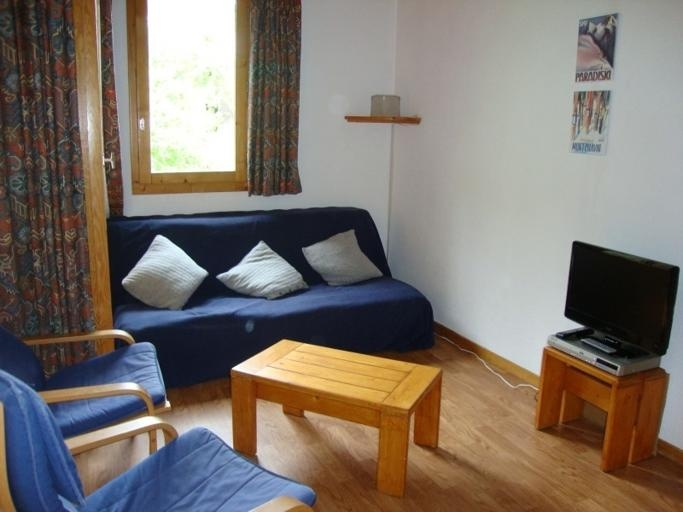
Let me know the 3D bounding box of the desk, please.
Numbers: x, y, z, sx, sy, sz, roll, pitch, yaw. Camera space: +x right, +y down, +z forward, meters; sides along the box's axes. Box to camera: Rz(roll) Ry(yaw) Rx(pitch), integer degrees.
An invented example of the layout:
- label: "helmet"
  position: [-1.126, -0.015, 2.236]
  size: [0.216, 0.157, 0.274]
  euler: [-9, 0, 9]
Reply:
- label: "desk"
  position: [1.534, 0.862, 3.232]
  size: [0.432, 0.587, 0.576]
  euler: [-11, 18, -33]

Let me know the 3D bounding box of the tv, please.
- label: "tv"
  position: [1.632, 0.247, 3.097]
  size: [0.179, 0.466, 0.551]
  euler: [-9, 18, -30]
